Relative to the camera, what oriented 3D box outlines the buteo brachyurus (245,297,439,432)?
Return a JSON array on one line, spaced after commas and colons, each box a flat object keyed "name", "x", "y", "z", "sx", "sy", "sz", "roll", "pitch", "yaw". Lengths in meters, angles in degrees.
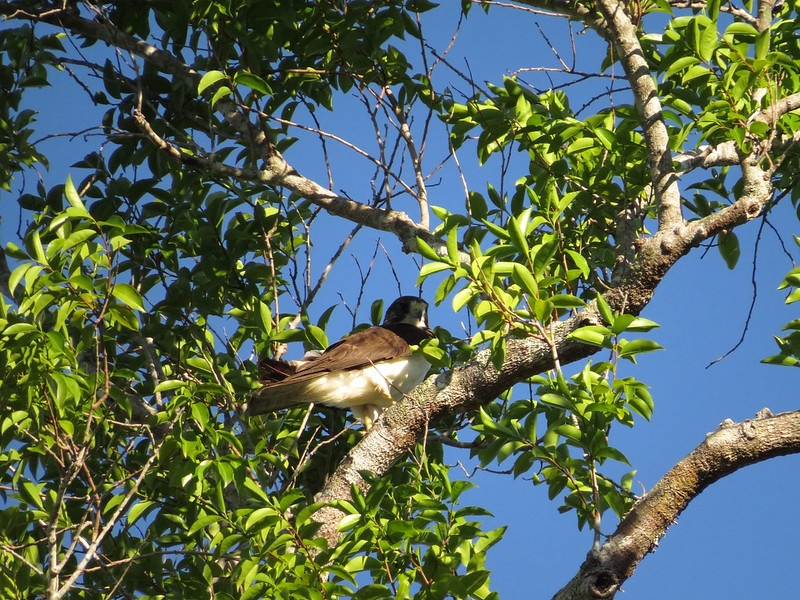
[{"name": "buteo brachyurus", "x": -0.388, "y": 0.445, "z": 11.075, "sx": 1.542, "sy": 1.019, "sz": 0.548, "roll": -1, "pitch": -29, "yaw": -20}]
